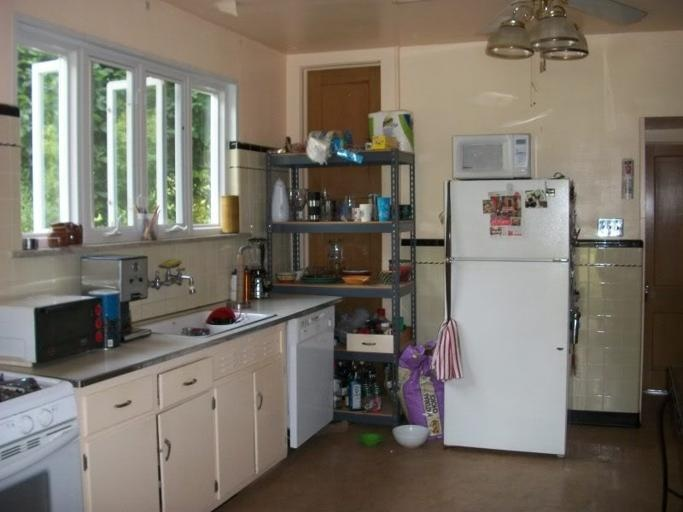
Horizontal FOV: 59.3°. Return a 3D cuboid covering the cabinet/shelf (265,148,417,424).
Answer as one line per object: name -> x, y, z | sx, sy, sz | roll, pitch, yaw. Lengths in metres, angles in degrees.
cabinet/shelf -> 0.027, 0.224, 5.132 | 1.162, 2.213, 0.801 | 1, 6, 17

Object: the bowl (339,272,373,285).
bowl -> 0.114, 0.179, 4.948 | 0.223, 0.112, 0.244 | -1, 6, 0

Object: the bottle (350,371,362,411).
bottle -> 0.131, 1.104, 4.920 | 0.099, 0.292, 0.160 | 2, 6, 27

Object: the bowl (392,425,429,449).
bowl -> 0.514, 1.369, 4.530 | 0.249, 0.113, 0.253 | -1, 6, 0

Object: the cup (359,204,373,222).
cup -> 0.190, -0.341, 4.782 | 0.097, 0.136, 0.131 | 0, 6, 9

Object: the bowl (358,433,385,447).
bowl -> 0.232, 1.384, 4.569 | 0.170, 0.063, 0.236 | 1, 6, 18

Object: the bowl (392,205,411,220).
bowl -> 0.487, -0.351, 4.948 | 0.137, 0.107, 0.125 | -1, 1, 0

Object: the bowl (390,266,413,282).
bowl -> 0.518, 0.138, 5.024 | 0.134, 0.111, 0.147 | 0, 7, 0

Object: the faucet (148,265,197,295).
faucet -> -1.118, 0.171, 3.925 | 0.258, 0.238, 0.680 | -3, 6, -17

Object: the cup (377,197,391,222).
cup -> 0.332, -0.367, 4.735 | 0.106, 0.184, 0.062 | -2, 6, -13
